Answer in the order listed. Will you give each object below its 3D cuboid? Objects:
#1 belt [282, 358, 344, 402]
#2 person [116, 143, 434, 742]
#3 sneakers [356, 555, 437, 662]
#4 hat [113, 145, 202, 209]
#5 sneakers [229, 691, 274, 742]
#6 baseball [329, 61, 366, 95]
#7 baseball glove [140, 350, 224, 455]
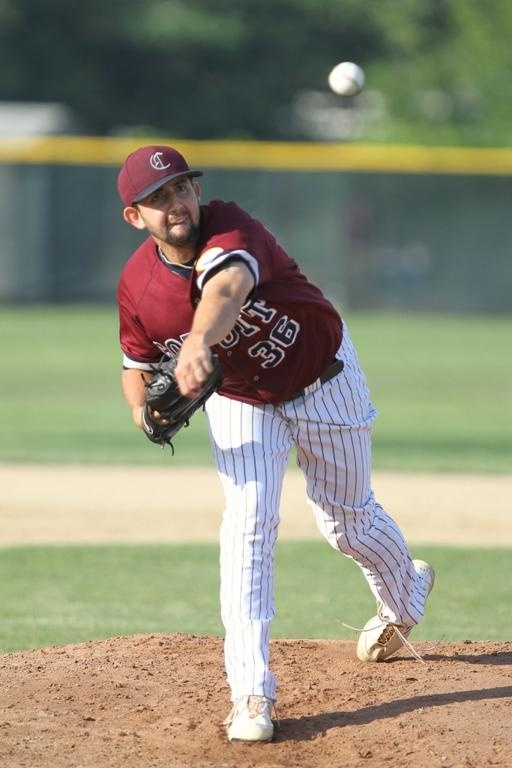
[{"bbox_3d":[0.155,-0.019,2.912,0.124,0.034,0.119,24,70,48],"label":"belt"},{"bbox_3d":[-0.097,0.130,2.882,0.645,1.528,1.048,3,7,33],"label":"person"},{"bbox_3d":[0.397,0.736,3.306,0.151,0.376,0.157,28,5,3],"label":"sneakers"},{"bbox_3d":[-0.261,-0.558,2.823,0.212,0.167,0.199,-1,5,-2],"label":"hat"},{"bbox_3d":[-0.014,0.816,2.614,0.072,0.068,0.164,1,6,-1],"label":"sneakers"},{"bbox_3d":[0.491,-1.648,5.779,0.245,0.212,0.123,3,16,-1],"label":"baseball"},{"bbox_3d":[-0.208,0.060,2.843,0.113,0.177,0.274,1,40,46],"label":"baseball glove"}]
